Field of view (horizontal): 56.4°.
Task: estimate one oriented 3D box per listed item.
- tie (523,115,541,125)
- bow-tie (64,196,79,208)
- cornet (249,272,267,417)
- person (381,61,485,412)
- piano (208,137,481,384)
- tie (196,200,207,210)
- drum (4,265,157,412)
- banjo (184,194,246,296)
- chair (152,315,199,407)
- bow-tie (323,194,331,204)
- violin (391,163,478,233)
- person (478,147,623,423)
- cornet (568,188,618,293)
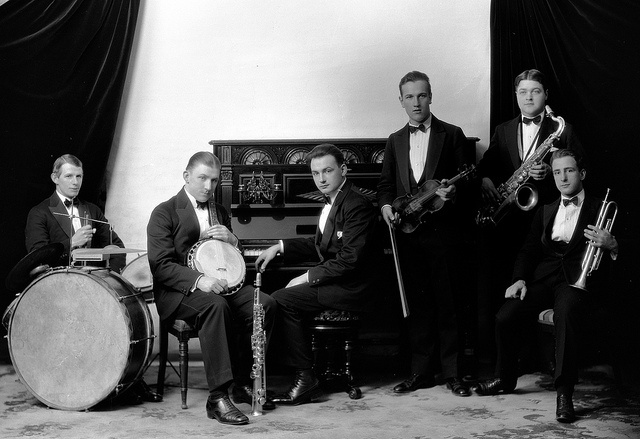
[{"bbox_3d":[1.872,-0.878,5.281,0.136,0.069,0.033,1,4,15],"label":"tie"},{"bbox_3d":[-2.364,-0.158,5.655,0.043,0.092,0.141,3,5,38],"label":"bow-tie"},{"bbox_3d":[-0.497,0.972,4.715,0.145,1.108,0.286,-1,4,-5],"label":"cornet"},{"bbox_3d":[0.990,0.111,5.289,0.881,2.804,0.905,0,4,8],"label":"person"},{"bbox_3d":[0.254,0.435,5.235,2.052,2.137,0.798,-1,-2,-1],"label":"piano"},{"bbox_3d":[-1.024,-0.123,5.067,0.059,0.072,0.024,4,-15,-23],"label":"tie"},{"bbox_3d":[-1.921,0.961,4.727,0.926,1.004,0.404,-9,0,10],"label":"drum"},{"bbox_3d":[-0.847,0.373,4.824,0.466,0.437,0.246,-1,4,-15],"label":"banjo"},{"bbox_3d":[-1.222,1.146,4.936,0.257,0.753,0.494,-4,5,-44],"label":"chair"},{"bbox_3d":[0.058,-0.176,5.180,0.017,0.074,0.039,-32,12,-38],"label":"bow-tie"},{"bbox_3d":[0.943,-0.216,5.259,0.962,0.390,0.188,-38,5,22],"label":"violin"},{"bbox_3d":[2.006,0.458,4.947,0.922,2.075,0.803,-3,5,-38],"label":"person"},{"bbox_3d":[2.200,0.177,4.760,0.411,0.794,0.193,-2,4,-25],"label":"cornet"}]
